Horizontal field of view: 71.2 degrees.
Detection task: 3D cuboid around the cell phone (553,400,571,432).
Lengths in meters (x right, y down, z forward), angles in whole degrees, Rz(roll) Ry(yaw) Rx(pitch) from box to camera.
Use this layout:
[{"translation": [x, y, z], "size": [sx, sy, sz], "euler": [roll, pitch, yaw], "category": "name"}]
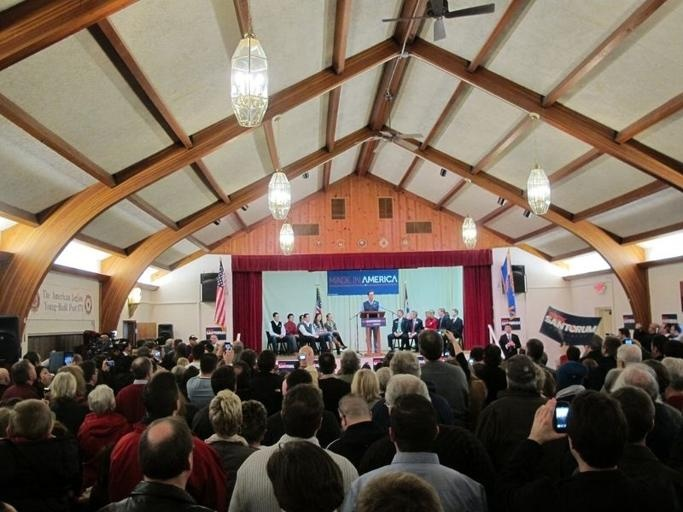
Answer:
[{"translation": [1.153, 0.843, 2.507], "size": [0.079, 0.162, 0.081], "euler": [-8, -13, 35], "category": "cell phone"}]
